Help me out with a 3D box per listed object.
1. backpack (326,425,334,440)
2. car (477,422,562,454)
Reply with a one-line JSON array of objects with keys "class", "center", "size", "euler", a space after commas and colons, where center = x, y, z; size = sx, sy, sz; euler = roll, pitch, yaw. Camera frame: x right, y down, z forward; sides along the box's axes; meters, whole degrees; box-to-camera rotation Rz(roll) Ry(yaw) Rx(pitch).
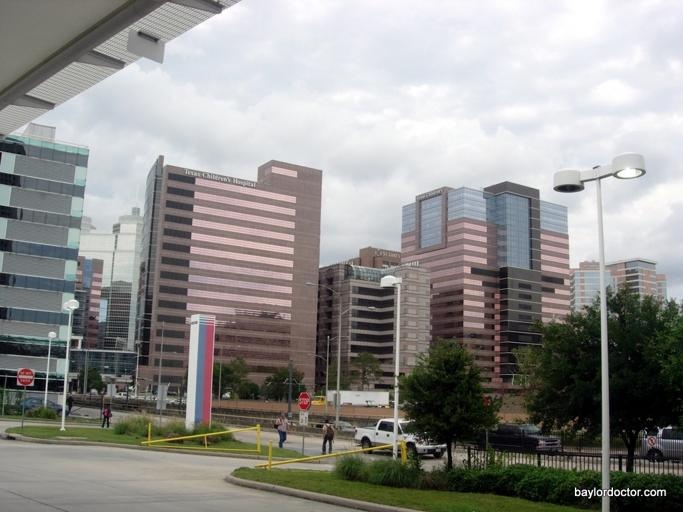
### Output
[{"class": "backpack", "center": [-0.645, 9.445, 42.232], "size": [0.413, 0.769, 0.424], "euler": [4, -15, 0]}, {"class": "car", "center": [10.807, 10.751, 46.835], "size": [4.377, 1.535, 2.822], "euler": [-5, -15, 30]}]
